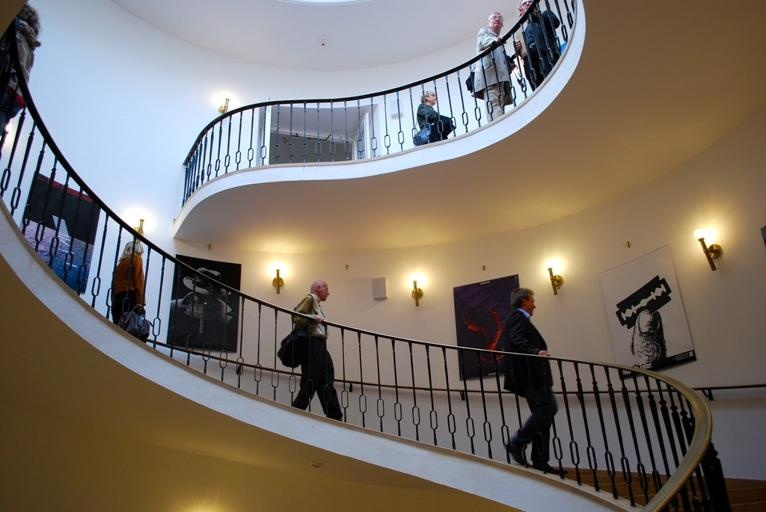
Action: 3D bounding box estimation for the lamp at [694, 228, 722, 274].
[{"bbox_3d":[4.557,-0.095,6.343,0.235,0.585,0.254,13,-22,-39],"label":"lamp"}]

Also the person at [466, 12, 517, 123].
[{"bbox_3d":[1.854,-3.196,7.932,0.753,2.350,0.771,-9,-18,26],"label":"person"}]

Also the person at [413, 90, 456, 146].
[{"bbox_3d":[0.974,-2.582,8.537,0.710,1.330,0.501,6,-18,-22],"label":"person"}]

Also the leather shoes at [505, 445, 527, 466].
[{"bbox_3d":[1.631,2.408,5.568,0.246,0.279,0.492,-8,-18,22],"label":"leather shoes"}]

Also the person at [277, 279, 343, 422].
[{"bbox_3d":[-1.004,1.236,6.260,0.846,1.936,0.517,2,-17,-11],"label":"person"}]

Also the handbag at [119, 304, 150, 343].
[{"bbox_3d":[-3.124,0.839,5.679,0.210,0.417,0.410,-11,-30,16],"label":"handbag"}]

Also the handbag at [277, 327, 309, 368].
[{"bbox_3d":[-1.181,1.197,6.303,0.412,0.622,0.803,6,2,-6],"label":"handbag"}]

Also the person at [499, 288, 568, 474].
[{"bbox_3d":[1.759,1.474,5.593,0.628,2.245,0.575,-7,-18,20],"label":"person"}]
